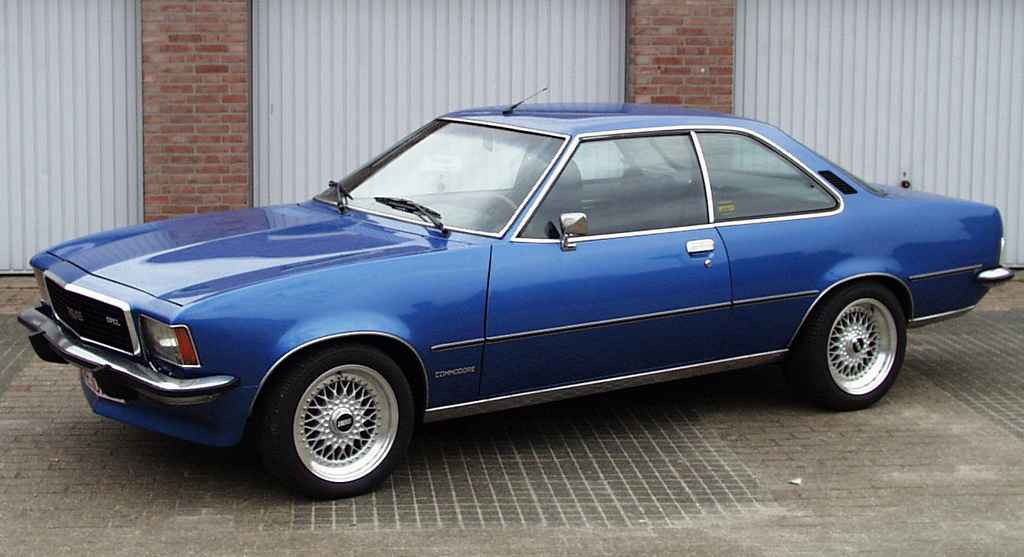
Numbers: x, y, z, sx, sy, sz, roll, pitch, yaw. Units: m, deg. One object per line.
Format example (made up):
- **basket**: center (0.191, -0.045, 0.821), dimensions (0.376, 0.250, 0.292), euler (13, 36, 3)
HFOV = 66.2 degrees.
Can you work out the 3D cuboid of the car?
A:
- **car**: center (0.336, -0.003, 7.378), dimensions (7.780, 2.254, 3.487), euler (-3, 9, -22)
